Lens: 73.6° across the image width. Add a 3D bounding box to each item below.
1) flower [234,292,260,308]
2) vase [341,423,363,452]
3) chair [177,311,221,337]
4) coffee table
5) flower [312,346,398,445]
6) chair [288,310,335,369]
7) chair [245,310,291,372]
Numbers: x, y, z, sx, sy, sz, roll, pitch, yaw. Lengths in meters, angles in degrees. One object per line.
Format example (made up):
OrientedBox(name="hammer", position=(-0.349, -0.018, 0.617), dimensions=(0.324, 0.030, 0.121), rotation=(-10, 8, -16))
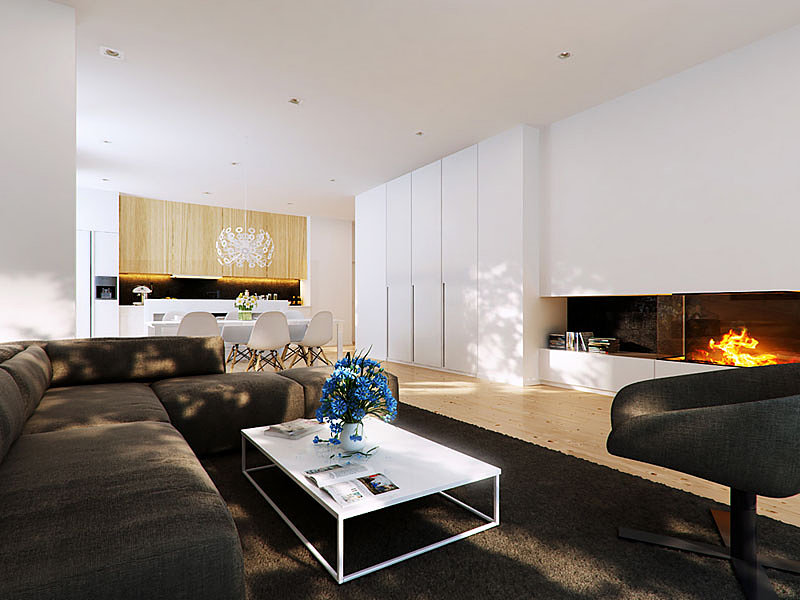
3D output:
OrientedBox(name="flower", position=(-2.387, 0.001, 8.344), dimensions=(0.316, 0.216, 0.315), rotation=(3, -6, -33))
OrientedBox(name="vase", position=(-0.259, 0.758, 2.942), dimensions=(0.141, 0.136, 0.142), rotation=(2, -5, -7))
OrientedBox(name="chair", position=(-2.318, 0.283, 6.141), dimensions=(0.438, 0.310, 0.159), rotation=(-5, 11, -25))
OrientedBox(name="coffee table", position=(-0.047, 0.814, 2.743), dimensions=(0.684, 0.240, 1.008), rotation=(-1, 3, -33))
OrientedBox(name="flower", position=(-0.281, 0.539, 3.162), dimensions=(0.485, 0.614, 0.500), rotation=(4, -3, -35))
OrientedBox(name="chair", position=(-1.138, 0.582, 6.953), dimensions=(0.494, 0.824, 0.607), rotation=(0, 1, -44))
OrientedBox(name="chair", position=(-1.629, 0.583, 6.598), dimensions=(0.525, 0.911, 0.647), rotation=(1, 7, -24))
